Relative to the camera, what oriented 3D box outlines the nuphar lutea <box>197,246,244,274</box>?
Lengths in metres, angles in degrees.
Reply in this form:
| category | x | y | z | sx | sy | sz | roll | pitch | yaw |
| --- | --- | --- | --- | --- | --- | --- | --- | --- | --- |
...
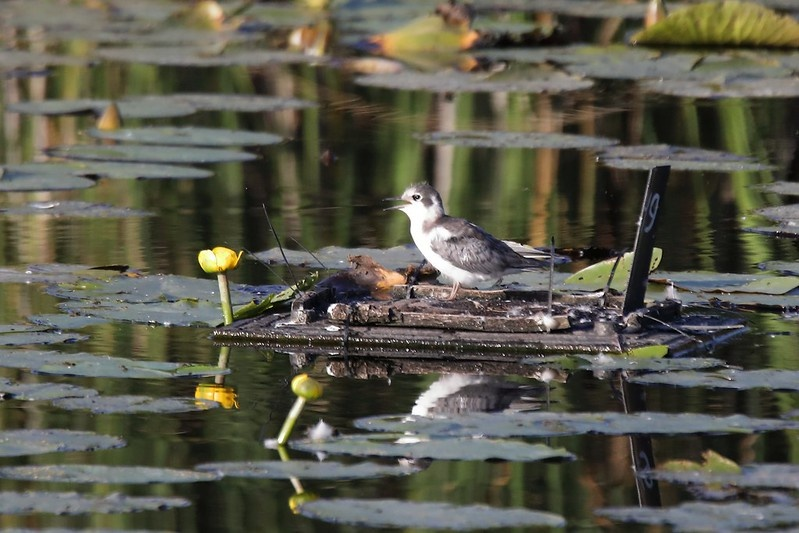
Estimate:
| category | x | y | z | sx | sy | sz | roll | pitch | yaw |
| --- | --- | --- | --- | --- | --- | --- | --- | --- | --- |
| nuphar lutea | -1.507 | -0.050 | 9.589 | 0.397 | 0.260 | 0.117 | -1 | 95 | -10 |
